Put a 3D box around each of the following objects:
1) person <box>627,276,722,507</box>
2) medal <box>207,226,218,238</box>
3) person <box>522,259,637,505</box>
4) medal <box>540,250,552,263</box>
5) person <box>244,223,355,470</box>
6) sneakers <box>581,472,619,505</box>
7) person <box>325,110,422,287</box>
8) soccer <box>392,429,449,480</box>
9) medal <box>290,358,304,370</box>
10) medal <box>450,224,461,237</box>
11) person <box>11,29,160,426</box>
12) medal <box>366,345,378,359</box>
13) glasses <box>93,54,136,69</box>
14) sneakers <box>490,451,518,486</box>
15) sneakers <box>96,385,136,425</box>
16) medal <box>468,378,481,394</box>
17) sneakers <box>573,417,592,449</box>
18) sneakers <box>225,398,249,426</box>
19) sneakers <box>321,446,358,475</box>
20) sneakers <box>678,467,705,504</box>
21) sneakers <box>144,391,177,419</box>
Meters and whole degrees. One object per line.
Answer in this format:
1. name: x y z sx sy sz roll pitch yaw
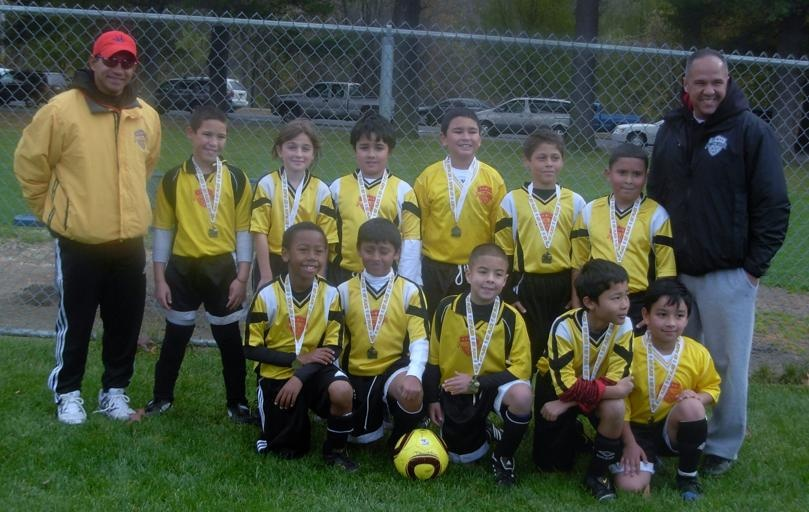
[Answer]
1. person: 2.180 1.059 5.930 0.699 1.640 0.672 5 10 21
2. medal: -1.702 -0.211 6.493 0.098 0.128 0.022 1 9 -4
3. person: 1.473 0.958 5.972 0.740 1.800 0.544 5 10 20
4. medal: 1.274 0.011 6.557 0.112 0.149 0.021 1 1 0
5. person: -0.864 0.717 6.091 0.954 1.938 0.550 2 9 1
6. sneakers: 1.571 1.849 5.857 0.114 0.122 0.292 0 -1 -27
7. person: -0.288 -0.191 6.739 1.087 2.080 0.539 1 3 14
8. soccer: 0.146 1.655 6.065 0.530 0.417 0.399 3 16 -6
9. medal: -0.897 0.903 6.089 0.072 0.094 0.083 -7 55 -12
10. medal: 0.475 -0.228 6.656 0.081 0.101 0.021 0 9 -9
11. person: -2.670 -0.247 6.299 1.089 3.333 0.488 -2 9 -21
12. medal: -0.268 0.817 6.242 0.121 0.171 0.013 1 8 3
13. glasses: -2.435 -1.643 6.180 0.311 0.128 0.118 -2 10 -22
14. sneakers: 0.825 1.728 6.003 0.209 0.194 0.309 3 10 5
15. sneakers: -2.572 1.315 6.528 0.493 0.244 0.224 13 9 39
16. medal: 0.586 1.074 6.038 0.086 0.087 0.105 1 -5 20
17. sneakers: 1.619 1.600 6.581 0.150 0.194 0.442 -2 -4 -3
18. sneakers: -1.485 1.414 6.596 0.237 0.104 0.130 13 21 24
19. sneakers: -0.519 1.672 6.024 0.247 0.133 0.255 -2 10 -19
20. sneakers: 2.283 1.837 5.834 0.188 0.158 0.220 5 10 17
21. sneakers: -2.213 1.362 6.604 0.106 0.123 0.295 8 10 42
